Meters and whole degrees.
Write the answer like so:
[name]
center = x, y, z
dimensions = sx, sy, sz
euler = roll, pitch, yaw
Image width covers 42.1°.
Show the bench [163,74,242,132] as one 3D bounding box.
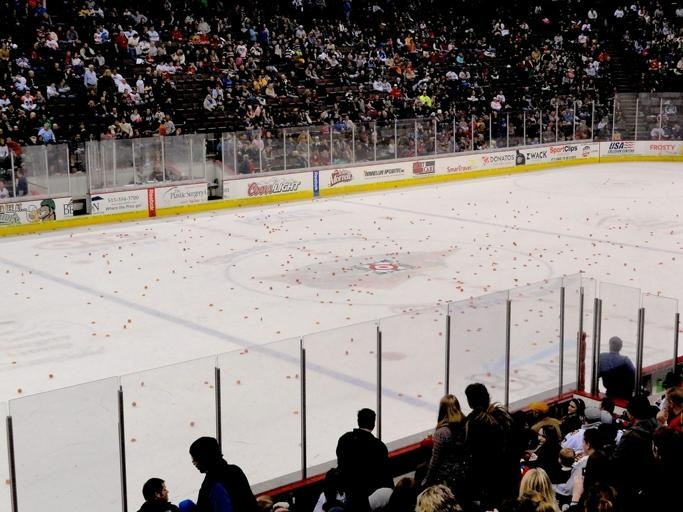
[bench]
center = -5.847, -6.028, 35.827
dimensions = 2.176, 2.462, 2.959
euler = -18, 32, -36
